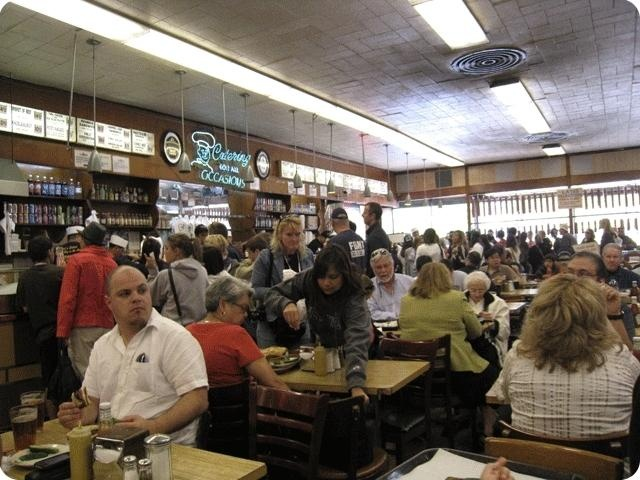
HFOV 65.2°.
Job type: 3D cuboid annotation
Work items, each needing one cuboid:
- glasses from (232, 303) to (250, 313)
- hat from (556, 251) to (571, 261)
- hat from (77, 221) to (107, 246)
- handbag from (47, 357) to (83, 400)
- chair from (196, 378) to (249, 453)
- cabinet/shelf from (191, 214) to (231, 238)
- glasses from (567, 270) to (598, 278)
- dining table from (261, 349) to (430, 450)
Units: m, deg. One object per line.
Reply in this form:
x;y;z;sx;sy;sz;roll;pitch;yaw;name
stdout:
-0.540;0.449;3.348;0.070;0.021;0.068;26;3;27;glasses
3.648;0.238;7.533;0.220;0.164;0.248;-1;-7;10;hat
-2.335;-0.065;5.177;0.201;0.244;0.197;0;1;-29;hat
-2.585;1.418;5.051;0.384;0.534;0.139;1;1;22;handbag
-0.559;1.097;3.034;0.317;0.425;0.428;-1;-10;4;chair
-1.595;-0.214;7.176;0.607;0.247;0.332;2;6;33;cabinet/shelf
2.014;0.256;3.837;0.096;0.029;0.092;29;-24;-32;glasses
0.340;1.075;3.659;0.675;0.398;0.668;-3;-6;20;dining table
